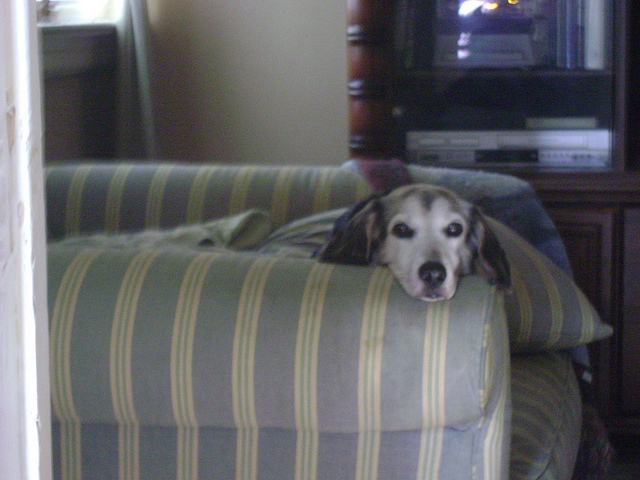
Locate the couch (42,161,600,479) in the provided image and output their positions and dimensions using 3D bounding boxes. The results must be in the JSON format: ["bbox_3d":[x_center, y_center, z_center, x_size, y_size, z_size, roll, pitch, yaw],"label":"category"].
[{"bbox_3d":[0.010,0.134,1.833,0.835,0.280,0.761,1,11,-2],"label":"couch"}]

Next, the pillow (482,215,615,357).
[{"bbox_3d":[0.430,0.088,2.046,0.218,0.269,0.128,-4,8,-12],"label":"pillow"}]

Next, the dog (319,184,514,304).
[{"bbox_3d":[0.166,-0.029,1.864,0.354,0.143,0.405,3,16,-3],"label":"dog"}]
